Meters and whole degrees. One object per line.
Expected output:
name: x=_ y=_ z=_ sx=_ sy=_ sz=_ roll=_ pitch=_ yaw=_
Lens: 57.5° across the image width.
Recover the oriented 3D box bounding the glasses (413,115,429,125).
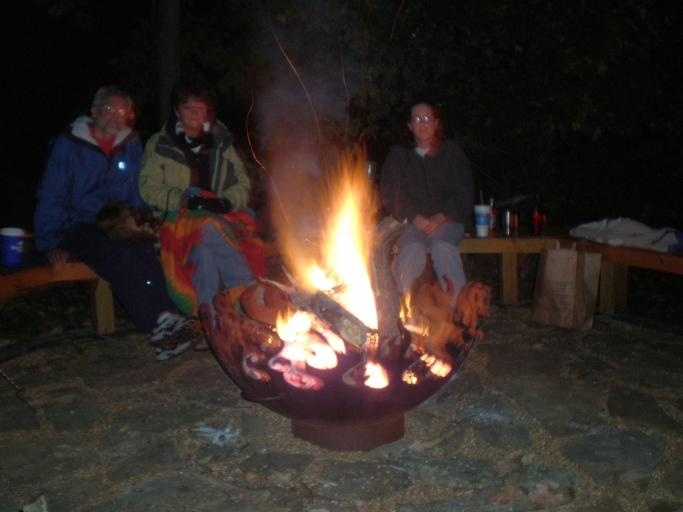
glasses: x=0.819 y=-1.397 z=6.367 sx=0.150 sy=0.078 sz=0.030 roll=-1 pitch=4 yaw=10

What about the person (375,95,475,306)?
person: x=0.858 y=-0.599 z=6.329 sx=0.948 sy=1.943 sz=0.980 roll=-1 pitch=4 yaw=12
